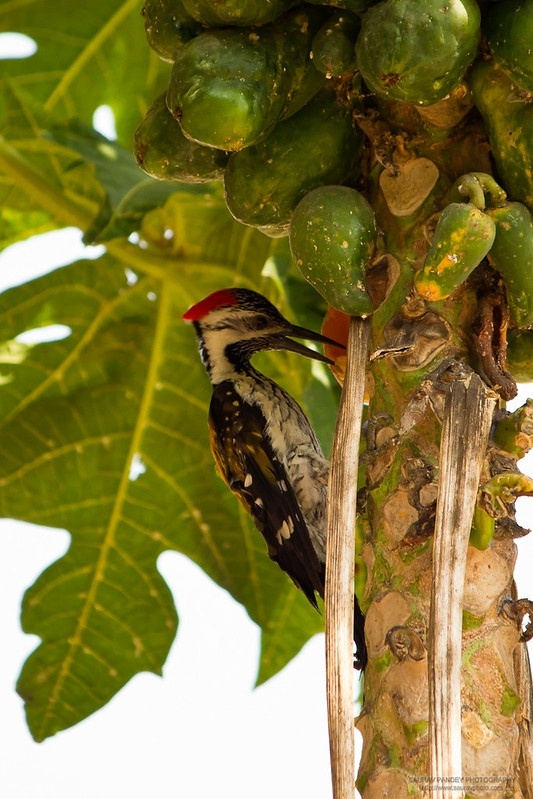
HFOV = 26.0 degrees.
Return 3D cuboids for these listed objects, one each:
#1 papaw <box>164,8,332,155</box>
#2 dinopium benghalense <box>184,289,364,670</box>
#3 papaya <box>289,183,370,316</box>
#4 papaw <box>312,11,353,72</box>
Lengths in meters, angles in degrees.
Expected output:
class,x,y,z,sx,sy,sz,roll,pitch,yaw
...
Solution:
class,x,y,z,sx,sy,sz,roll,pitch,yaw
papaw,-0.030,-0.436,1.644,0.198,0.252,0.191,-5,-85,2
dinopium benghalense,-0.026,0.140,2.968,0.376,0.951,0.804,2,-41,3
papaya,0.097,-0.217,1.678,0.122,0.180,0.092,9,-44,-42
papaw,0.096,-0.506,1.631,0.059,0.037,0.083,15,-64,32
